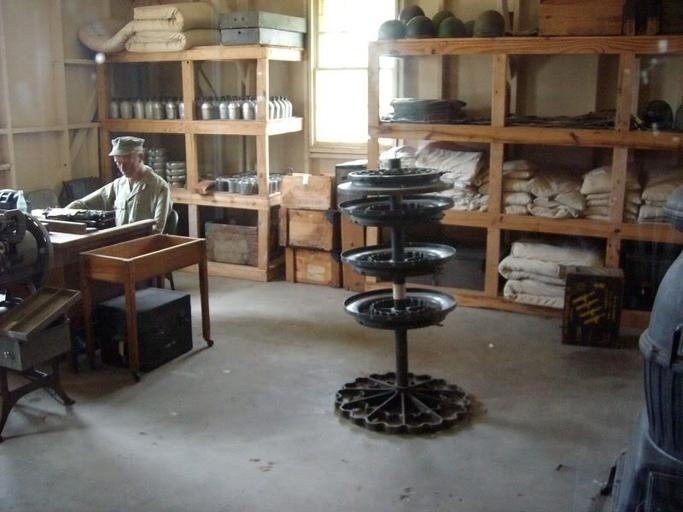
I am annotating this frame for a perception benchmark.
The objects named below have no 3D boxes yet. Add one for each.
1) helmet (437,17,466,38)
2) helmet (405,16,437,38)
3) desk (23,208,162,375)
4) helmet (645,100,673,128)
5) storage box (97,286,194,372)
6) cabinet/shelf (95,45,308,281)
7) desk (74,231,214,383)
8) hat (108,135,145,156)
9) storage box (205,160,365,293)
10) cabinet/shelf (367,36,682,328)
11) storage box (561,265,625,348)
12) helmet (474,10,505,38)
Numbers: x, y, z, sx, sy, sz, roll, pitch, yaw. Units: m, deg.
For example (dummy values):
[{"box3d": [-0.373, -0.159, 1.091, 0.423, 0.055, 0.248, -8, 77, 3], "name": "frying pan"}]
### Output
[{"box3d": [1.048, -2.182, 5.675, 0.277, 0.219, 0.203, 5, 16, 28], "name": "helmet"}, {"box3d": [0.783, -2.202, 5.741, 0.259, 0.136, 0.250, 16, 28, 38], "name": "helmet"}, {"box3d": [-2.272, 0.194, 5.294, 1.100, 1.155, 1.475, 7, 13, 33], "name": "desk"}, {"box3d": [2.774, -1.243, 5.193, 0.230, 0.240, 0.162, 3, 15, 22], "name": "helmet"}, {"box3d": [-1.641, 0.560, 4.927, 0.759, 0.528, 0.672, 3, 8, 19], "name": "storage box"}, {"box3d": [-1.522, -1.061, 6.632, 3.309, 2.501, 0.994, 3, 10, 22], "name": "cabinet/shelf"}, {"box3d": [-1.625, 0.428, 4.779, 0.746, 1.065, 1.170, 6, 12, 27], "name": "desk"}, {"box3d": [-2.093, -1.076, 5.806, 0.292, 0.176, 0.296, -6, 13, -18], "name": "hat"}, {"box3d": [-0.274, -0.334, 6.584, 0.834, 1.329, 0.279, 4, 17, 22], "name": "storage box"}, {"box3d": [1.721, -0.640, 5.287, 3.571, 2.441, 0.981, 3, 8, 22], "name": "cabinet/shelf"}, {"box3d": [2.128, 0.438, 5.024, 0.573, 0.609, 0.200, 4, 9, 14], "name": "storage box"}, {"box3d": [1.373, -2.148, 5.508, 0.316, 0.243, 0.272, 15, 27, 29], "name": "helmet"}]
